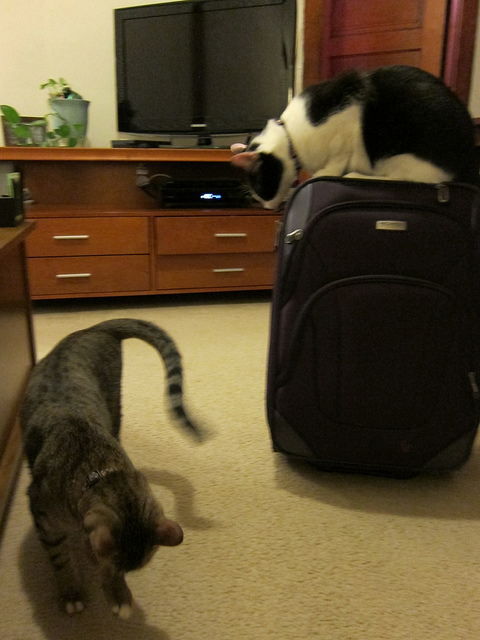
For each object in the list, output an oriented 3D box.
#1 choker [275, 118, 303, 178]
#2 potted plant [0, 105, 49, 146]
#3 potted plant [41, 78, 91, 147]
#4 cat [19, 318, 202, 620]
[{"bbox_3d":[0.111,-0.392,1.226,0.028,0.120,0.069,-22,-6,19],"label":"choker"},{"bbox_3d":[-0.890,-0.794,2.248,0.175,0.162,0.378,-4,16,-20],"label":"potted plant"},{"bbox_3d":[-0.757,-0.900,2.412,0.185,0.279,0.169,-5,16,-38],"label":"potted plant"},{"bbox_3d":[-0.166,0.145,0.705,0.214,0.148,0.388,-4,51,-9],"label":"cat"}]
